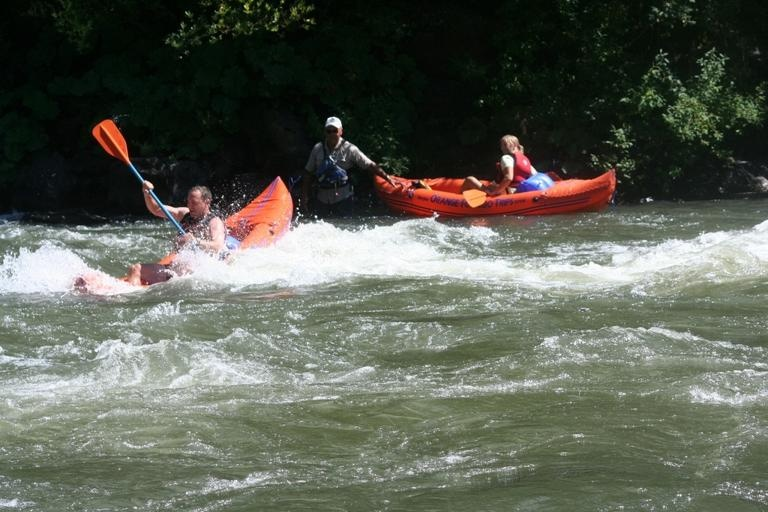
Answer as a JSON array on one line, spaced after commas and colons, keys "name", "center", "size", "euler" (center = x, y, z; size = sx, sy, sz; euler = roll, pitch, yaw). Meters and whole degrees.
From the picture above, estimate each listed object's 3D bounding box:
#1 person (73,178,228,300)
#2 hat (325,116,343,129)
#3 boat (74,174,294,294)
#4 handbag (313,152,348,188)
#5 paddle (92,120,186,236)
[{"name": "person", "center": [-2.887, -0.236, 12.842], "size": [1.211, 1.216, 2.130], "euler": [30, 31, 34]}, {"name": "hat", "center": [-0.791, -2.102, 16.227], "size": [0.213, 0.164, 0.329], "euler": [-2, 11, 5]}, {"name": "boat", "center": [-2.230, -0.414, 13.633], "size": [2.792, 1.005, 1.090], "euler": [-26, 31, -34]}, {"name": "handbag", "center": [-0.815, -1.398, 16.663], "size": [0.558, 0.431, 0.235], "euler": [39, 28, 1]}, {"name": "paddle", "center": [-3.550, -1.057, 15.115], "size": [0.406, 2.739, 0.196], "euler": [-24, 55, 0]}]
